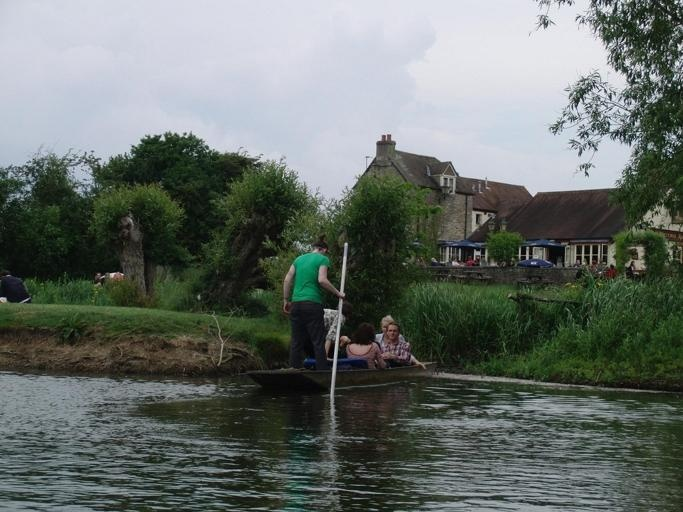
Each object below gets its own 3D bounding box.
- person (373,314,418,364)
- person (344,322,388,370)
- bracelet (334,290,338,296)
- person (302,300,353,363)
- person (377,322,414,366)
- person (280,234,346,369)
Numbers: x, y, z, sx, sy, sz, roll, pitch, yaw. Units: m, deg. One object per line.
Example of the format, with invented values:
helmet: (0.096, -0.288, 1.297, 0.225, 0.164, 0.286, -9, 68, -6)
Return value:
person: (1.158, 2.138, 23.910, 0.693, 1.136, 0.742, 5, -9, -20)
person: (0.561, 2.158, 23.258, 0.867, 1.342, 0.800, 3, -6, 12)
bracelet: (-0.097, 0.787, 21.638, 0.085, 0.048, 0.127, 5, -28, 11)
person: (-0.168, 1.715, 23.908, 0.868, 1.473, 0.418, 6, 0, 12)
person: (1.120, 2.239, 23.833, 0.615, 1.485, 0.735, 7, -2, 0)
person: (-0.671, 1.075, 22.141, 1.257, 2.733, 0.829, 3, -2, 18)
